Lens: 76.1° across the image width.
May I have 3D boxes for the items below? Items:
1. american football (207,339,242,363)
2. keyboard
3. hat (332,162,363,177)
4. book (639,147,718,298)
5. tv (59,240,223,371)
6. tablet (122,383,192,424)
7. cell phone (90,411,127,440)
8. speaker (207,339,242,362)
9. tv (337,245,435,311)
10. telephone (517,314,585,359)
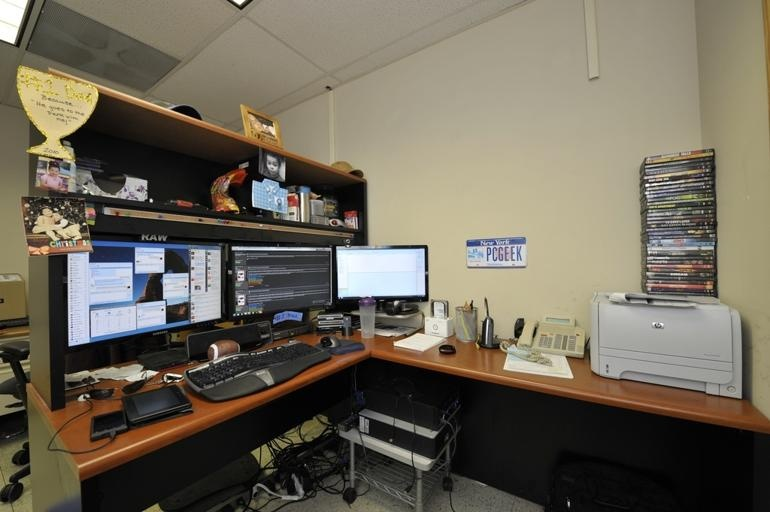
[{"bbox_3d":[-0.905,0.524,2.743,0.140,0.104,0.105,-9,-34,-52],"label":"american football"},{"bbox_3d":[-0.684,0.593,2.615,0.643,0.186,0.462,6,-1,-40],"label":"keyboard"},{"bbox_3d":[-0.285,-0.658,3.706,0.186,0.067,0.129,19,12,17],"label":"hat"},{"bbox_3d":[1.641,-0.187,2.894,0.494,0.832,0.313,0,-1,-43],"label":"book"},{"bbox_3d":[-1.291,0.196,2.710,0.146,0.567,0.777,-1,-1,45],"label":"tv"},{"bbox_3d":[-1.110,0.722,2.458,0.380,0.106,0.461,7,-3,-26],"label":"tablet"},{"bbox_3d":[-1.295,0.800,2.310,0.156,0.099,0.116,-1,0,-28],"label":"cell phone"},{"bbox_3d":[-0.901,0.530,2.743,0.108,0.105,0.138,10,-13,5],"label":"speaker"},{"bbox_3d":[-0.026,0.135,3.386,0.648,0.418,0.158,-1,-2,3],"label":"tv"},{"bbox_3d":[1.008,0.482,2.976,0.381,0.133,0.299,-1,20,13],"label":"telephone"}]
